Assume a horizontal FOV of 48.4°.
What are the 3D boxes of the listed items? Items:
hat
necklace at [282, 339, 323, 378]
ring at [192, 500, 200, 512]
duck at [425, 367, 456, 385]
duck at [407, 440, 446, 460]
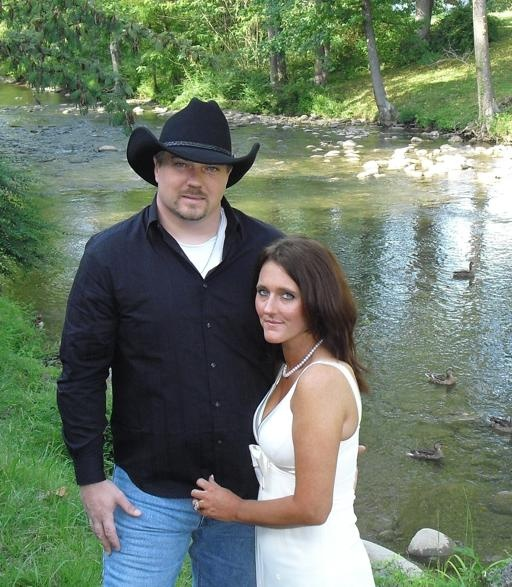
[{"bbox_3d":[-0.289,-0.672,2.650,0.667,0.259,0.625,3,-9,22],"label":"hat"},{"bbox_3d":[0.181,0.269,2.293,0.036,0.170,0.139,41,11,-10],"label":"necklace"},{"bbox_3d":[-0.239,0.836,2.255,0.011,0.040,0.039,-5,4,-30],"label":"ring"},{"bbox_3d":[2.253,0.988,6.859,0.281,0.157,0.154,7,10,16],"label":"duck"},{"bbox_3d":[1.670,1.518,5.564,0.315,0.174,0.155,0,-3,6],"label":"duck"}]
